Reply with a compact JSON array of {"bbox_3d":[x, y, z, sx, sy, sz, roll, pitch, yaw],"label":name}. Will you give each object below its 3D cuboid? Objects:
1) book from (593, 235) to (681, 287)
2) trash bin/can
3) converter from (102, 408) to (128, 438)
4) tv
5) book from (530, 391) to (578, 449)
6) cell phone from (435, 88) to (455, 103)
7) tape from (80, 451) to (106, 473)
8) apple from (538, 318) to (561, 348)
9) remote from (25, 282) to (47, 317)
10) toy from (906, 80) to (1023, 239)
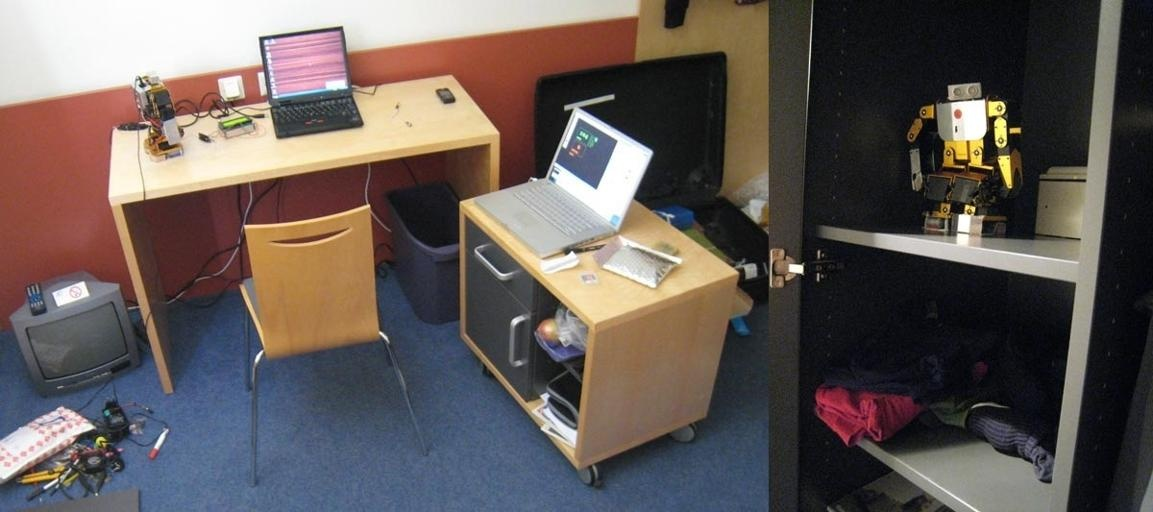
[{"bbox_3d":[0.319,0.027,4.112,0.409,0.072,0.248,19,44,23],"label":"book"},{"bbox_3d":[-1.022,-0.024,4.986,0.557,0.566,0.843,-11,38,-19],"label":"trash bin/can"},{"bbox_3d":[-2.722,0.997,4.401,0.120,0.154,0.120,-16,25,-31],"label":"converter"},{"bbox_3d":[-3.055,0.500,4.523,0.650,0.570,0.450,-18,43,-25],"label":"tv"},{"bbox_3d":[-0.115,0.962,4.323,0.324,0.067,0.303,27,12,11],"label":"book"},{"bbox_3d":[-0.850,-1.042,4.843,0.111,0.038,0.176,-14,36,-24],"label":"cell phone"},{"bbox_3d":[-2.751,1.180,4.244,0.110,0.040,0.130,7,21,-1],"label":"tape"},{"bbox_3d":[-0.184,0.446,4.289,0.155,0.157,0.119,-6,73,-7],"label":"apple"},{"bbox_3d":[-3.205,0.260,4.411,0.113,0.044,0.216,-14,58,-23],"label":"remote"},{"bbox_3d":[1.534,-0.376,2.941,0.449,0.575,0.269,3,23,12],"label":"toy"}]
